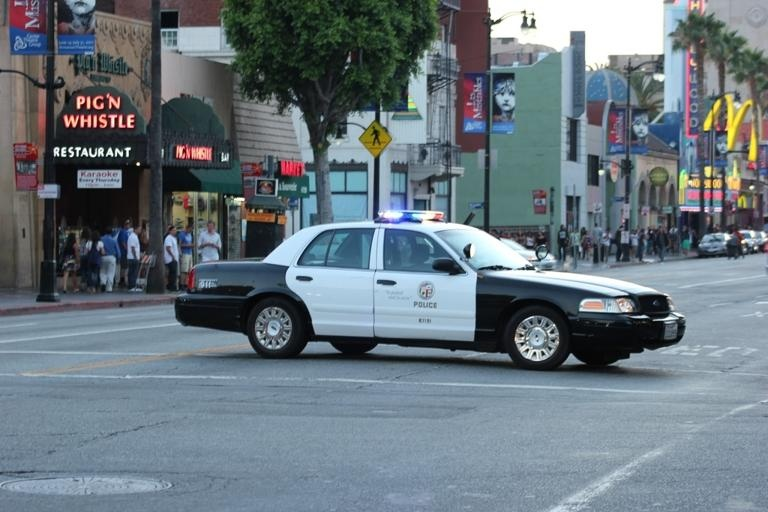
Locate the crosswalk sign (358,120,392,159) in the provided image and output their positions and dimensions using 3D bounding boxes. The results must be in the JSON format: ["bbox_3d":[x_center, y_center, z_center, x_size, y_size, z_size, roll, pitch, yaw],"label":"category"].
[{"bbox_3d":[-0.116,-3.398,33.231,1.089,1.137,0.696,4,8,28],"label":"crosswalk sign"}]

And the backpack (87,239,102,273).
[{"bbox_3d":[-8.585,0.003,33.904,0.416,0.999,0.480,6,3,-12],"label":"backpack"}]
